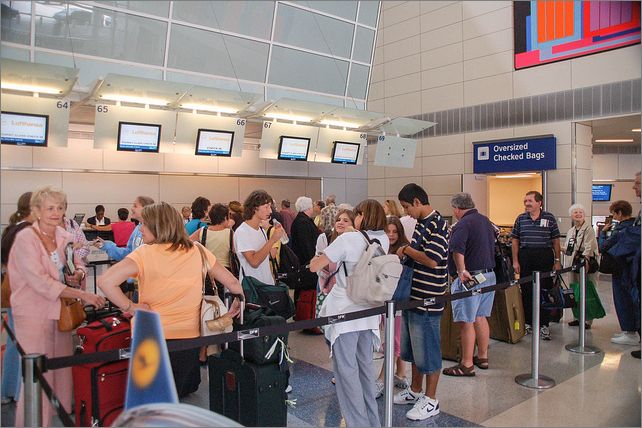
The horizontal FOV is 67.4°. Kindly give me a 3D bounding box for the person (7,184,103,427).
[{"bbox_3d":[-2.946,1.068,5.229,0.765,2.717,0.714,-2,4,-35],"label":"person"}]

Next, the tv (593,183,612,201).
[{"bbox_3d":[9.360,-0.758,15.951,0.679,0.630,0.072,3,8,30],"label":"tv"}]

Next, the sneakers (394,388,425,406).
[{"bbox_3d":[1.060,2.266,5.943,0.419,0.193,0.142,2,-6,1],"label":"sneakers"}]

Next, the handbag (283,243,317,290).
[{"bbox_3d":[-0.187,0.827,7.093,0.481,0.702,0.712,-4,-9,44],"label":"handbag"}]

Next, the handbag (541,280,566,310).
[{"bbox_3d":[3.479,1.242,7.299,0.282,0.130,0.361,-3,19,-34],"label":"handbag"}]

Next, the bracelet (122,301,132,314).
[{"bbox_3d":[-1.946,0.954,4.883,0.108,0.108,0.108,-1,-10,31],"label":"bracelet"}]

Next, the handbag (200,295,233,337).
[{"bbox_3d":[-1.149,1.057,4.920,0.313,0.405,0.359,2,-6,-32],"label":"handbag"}]

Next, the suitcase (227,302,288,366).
[{"bbox_3d":[-0.711,1.368,5.279,0.467,0.613,0.891,4,-8,-34],"label":"suitcase"}]

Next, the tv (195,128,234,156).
[{"bbox_3d":[-2.310,-1.569,10.303,0.608,0.430,0.067,1,11,-27],"label":"tv"}]

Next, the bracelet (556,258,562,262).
[{"bbox_3d":[3.892,0.752,7.880,0.116,0.063,0.158,2,-1,12],"label":"bracelet"}]

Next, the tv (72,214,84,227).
[{"bbox_3d":[-5.805,0.114,11.504,0.272,0.385,0.088,11,-36,-16],"label":"tv"}]

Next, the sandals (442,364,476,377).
[{"bbox_3d":[1.882,2.148,6.577,0.352,0.139,0.182,3,-5,6],"label":"sandals"}]

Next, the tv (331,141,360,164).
[{"bbox_3d":[0.624,-1.544,11.943,0.850,0.521,0.265,-3,4,-43],"label":"tv"}]

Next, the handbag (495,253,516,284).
[{"bbox_3d":[2.684,0.799,7.004,0.256,0.427,0.262,1,3,20],"label":"handbag"}]

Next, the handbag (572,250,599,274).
[{"bbox_3d":[4.265,0.773,7.741,0.286,0.546,0.378,-3,-4,33],"label":"handbag"}]

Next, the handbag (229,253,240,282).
[{"bbox_3d":[-1.149,0.677,6.387,0.074,0.303,0.188,0,-4,-34],"label":"handbag"}]

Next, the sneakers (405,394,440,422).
[{"bbox_3d":[1.235,2.278,5.651,0.457,0.259,0.130,-1,3,-21],"label":"sneakers"}]

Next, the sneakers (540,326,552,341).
[{"bbox_3d":[3.637,1.918,7.758,0.153,0.201,0.236,1,3,24],"label":"sneakers"}]
